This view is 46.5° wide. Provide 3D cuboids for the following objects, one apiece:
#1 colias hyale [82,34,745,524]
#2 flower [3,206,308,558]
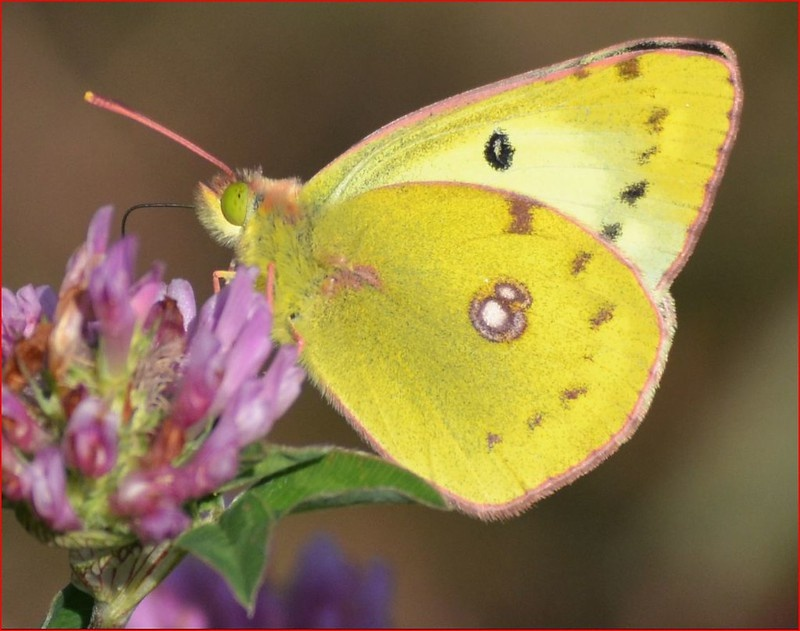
[{"bbox_3d":[0.062,-0.160,3.428,1.618,1.247,1.836,13,0,-6],"label":"colias hyale"},{"bbox_3d":[-0.584,0.111,2.006,0.660,0.694,0.401,-26,-34,13],"label":"flower"}]
